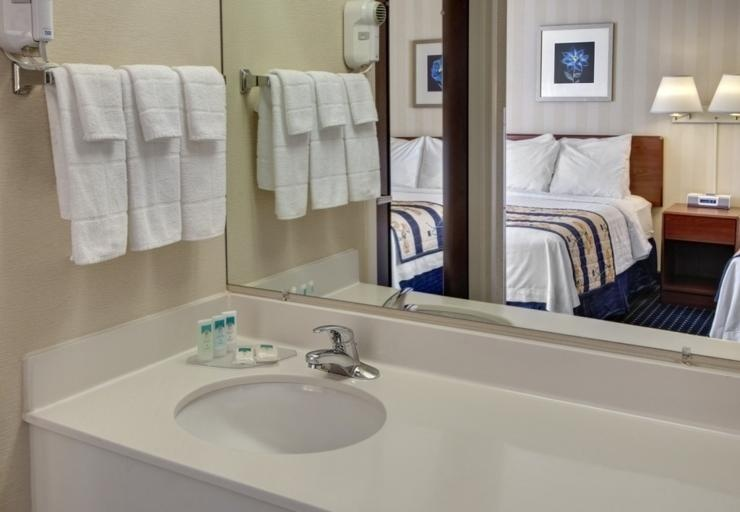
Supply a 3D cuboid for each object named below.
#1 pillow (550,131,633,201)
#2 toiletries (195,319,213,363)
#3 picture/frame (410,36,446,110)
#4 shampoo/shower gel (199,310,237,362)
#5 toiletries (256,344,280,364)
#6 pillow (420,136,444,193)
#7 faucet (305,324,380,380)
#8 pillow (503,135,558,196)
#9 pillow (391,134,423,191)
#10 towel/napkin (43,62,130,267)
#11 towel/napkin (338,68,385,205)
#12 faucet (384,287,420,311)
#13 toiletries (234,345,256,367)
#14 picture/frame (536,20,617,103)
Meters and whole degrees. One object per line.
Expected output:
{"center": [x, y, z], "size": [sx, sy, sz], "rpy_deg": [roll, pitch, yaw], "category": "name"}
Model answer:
{"center": [0.562, -0.230, 1.387], "size": [0.186, 0.153, 0.053], "rpy_deg": [4, 19, 13], "category": "pillow"}
{"center": [-0.512, 0.260, 1.701], "size": [0.053, 0.123, 0.042], "rpy_deg": [-6, 19, -17], "category": "toiletries"}
{"center": [0.166, -0.525, 1.571], "size": [0.115, 0.174, 0.039], "rpy_deg": [16, 24, 39], "category": "picture/frame"}
{"center": [-0.480, 0.256, 1.726], "size": [0.048, 0.136, 0.141], "rpy_deg": [3, 6, 42], "category": "shampoo/shower gel"}
{"center": [-0.323, 0.302, 1.714], "size": [0.075, 0.022, 0.098], "rpy_deg": [-4, 19, -11], "category": "toiletries"}
{"center": [0.181, -0.281, 1.596], "size": [0.034, 0.122, 0.128], "rpy_deg": [-3, 4, -32], "category": "pillow"}
{"center": [-0.075, 0.270, 1.625], "size": [0.139, 0.134, 0.201], "rpy_deg": [0, -1, 38], "category": "faucet"}
{"center": [0.426, -0.242, 1.451], "size": [0.137, 0.139, 0.033], "rpy_deg": [8, 7, 42], "category": "pillow"}
{"center": [0.120, -0.285, 1.665], "size": [0.126, 0.138, 0.040], "rpy_deg": [15, 21, 39], "category": "pillow"}
{"center": [-0.699, -0.233, 1.380], "size": [0.181, 0.473, 0.160], "rpy_deg": [-8, 20, -23], "category": "towel/napkin"}
{"center": [-0.035, -0.374, 1.733], "size": [0.074, 0.386, 0.209], "rpy_deg": [-16, 24, -39], "category": "towel/napkin"}
{"center": [0.098, 0.139, 1.674], "size": [0.041, 0.047, 0.110], "rpy_deg": [1, -1, -39], "category": "faucet"}
{"center": [-0.387, 0.304, 1.691], "size": [0.063, 0.031, 0.090], "rpy_deg": [-5, 19, -14], "category": "toiletries"}
{"center": [0.536, -0.502, 1.397], "size": [0.214, 0.218, 0.010], "rpy_deg": [4, 7, 25], "category": "picture/frame"}
